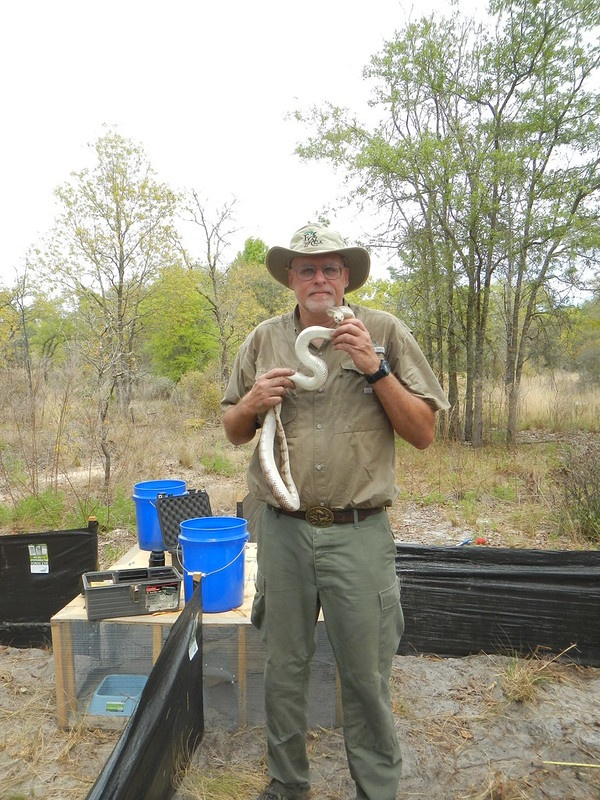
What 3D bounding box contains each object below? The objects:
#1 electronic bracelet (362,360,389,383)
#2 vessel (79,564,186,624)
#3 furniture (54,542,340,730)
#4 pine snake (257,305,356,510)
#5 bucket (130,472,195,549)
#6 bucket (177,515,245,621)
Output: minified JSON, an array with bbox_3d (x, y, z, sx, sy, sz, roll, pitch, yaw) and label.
[{"bbox_3d":[0.283,-0.103,2.372,0.082,0.062,0.064,-2,1,16],"label":"electronic bracelet"},{"bbox_3d":[-0.843,0.974,3.290,0.360,0.161,0.254,-2,-1,-19],"label":"vessel"},{"bbox_3d":[-0.465,1.140,3.011,0.970,0.468,1.043,0,0,-1],"label":"furniture"},{"bbox_3d":[0.017,0.039,2.499,0.381,0.589,0.263,-2,1,0],"label":"pine snake"},{"bbox_3d":[-0.883,0.693,4.087,0.368,0.461,0.401,0,-3,0],"label":"bucket"},{"bbox_3d":[-0.395,0.851,3.349,0.383,0.462,0.424,-1,-3,1],"label":"bucket"}]
